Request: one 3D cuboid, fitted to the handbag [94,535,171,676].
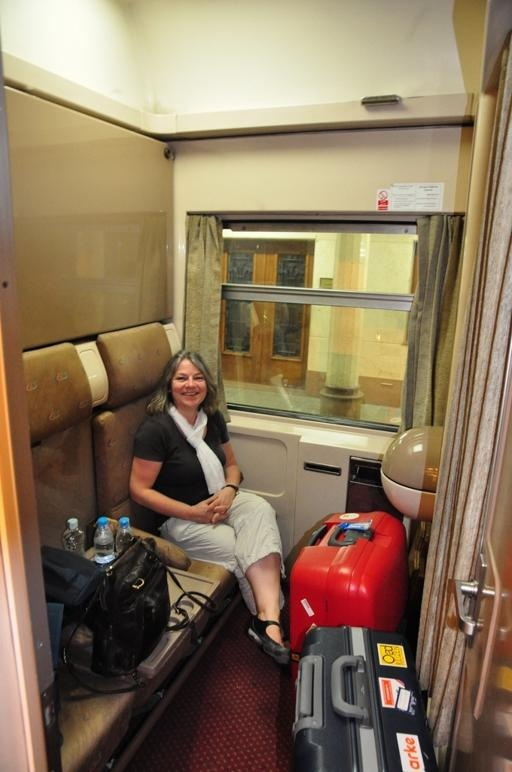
[{"bbox_3d":[-0.399,0.668,1.817,0.215,0.416,0.501,-2,8,2],"label":"handbag"}]

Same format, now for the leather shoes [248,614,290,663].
[{"bbox_3d":[0.062,1.163,2.390,0.097,0.142,0.285,25,-4,-38],"label":"leather shoes"}]

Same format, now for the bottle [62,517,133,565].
[{"bbox_3d":[-0.681,0.666,2.177,0.201,0.256,0.132,10,10,18],"label":"bottle"}]
